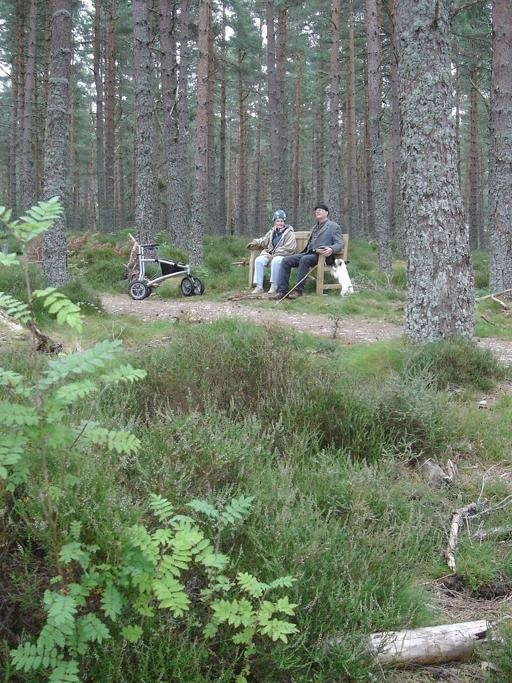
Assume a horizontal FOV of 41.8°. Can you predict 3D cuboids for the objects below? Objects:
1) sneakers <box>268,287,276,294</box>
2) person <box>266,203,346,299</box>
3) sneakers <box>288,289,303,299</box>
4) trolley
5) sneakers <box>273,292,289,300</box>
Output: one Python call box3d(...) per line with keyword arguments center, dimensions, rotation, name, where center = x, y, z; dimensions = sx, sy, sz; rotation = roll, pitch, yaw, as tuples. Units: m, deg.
box3d(center=(0.246, -0.849, 11.088), dimensions=(0.137, 0.124, 0.116), rotation=(4, 3, 27), name="sneakers")
box3d(center=(0.871, -1.526, 11.265), dimensions=(0.993, 1.691, 0.931), rotation=(6, -3, -28), name="person")
box3d(center=(0.622, -0.753, 10.842), dimensions=(0.098, 0.150, 0.306), rotation=(-1, -3, 18), name="sneakers")
box3d(center=(-1.737, -1.367, 12.051), dimensions=(1.812, 1.646, 1.043), rotation=(-1, 13, -3), name="trolley")
box3d(center=(0.384, -0.726, 10.905), dimensions=(0.146, 0.059, 0.174), rotation=(-8, 22, -10), name="sneakers")
